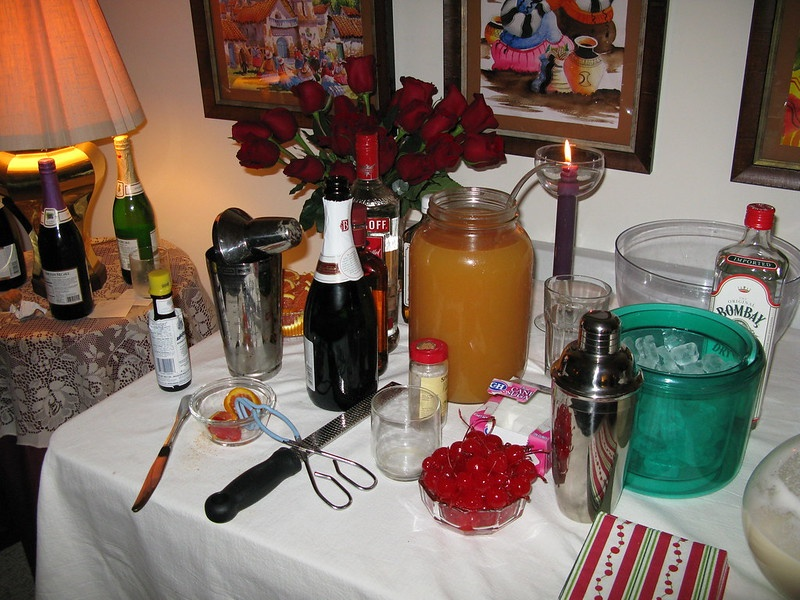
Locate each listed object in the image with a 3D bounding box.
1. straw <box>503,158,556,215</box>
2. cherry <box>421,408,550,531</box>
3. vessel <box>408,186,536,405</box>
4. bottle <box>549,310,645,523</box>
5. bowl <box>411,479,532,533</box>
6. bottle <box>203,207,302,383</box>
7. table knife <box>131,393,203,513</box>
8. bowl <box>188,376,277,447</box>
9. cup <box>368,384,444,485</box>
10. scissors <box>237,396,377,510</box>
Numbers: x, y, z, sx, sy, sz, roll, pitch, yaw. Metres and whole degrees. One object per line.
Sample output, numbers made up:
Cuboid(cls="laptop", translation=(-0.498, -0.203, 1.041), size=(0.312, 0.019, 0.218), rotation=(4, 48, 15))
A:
Cuboid(cls="straw", translation=(0.227, -0.209, 1.063), size=(0.048, 0.150, 0.023), rotation=(-9, 68, -1))
Cuboid(cls="cherry", translation=(0.107, 0.224, 0.767), size=(0.141, 0.075, 0.108), rotation=(-18, 43, -21))
Cuboid(cls="vessel", translation=(0.123, -0.007, 1.046), size=(0.226, 0.372, 0.223), rotation=(-9, 20, -24))
Cuboid(cls="bottle", translation=(0.241, 0.151, 0.746), size=(0.106, 0.283, 0.063), rotation=(8, 25, 22))
Cuboid(cls="bowl", translation=(0.100, 0.274, 0.796), size=(0.156, 0.058, 0.153), rotation=(0, -16, 0))
Cuboid(cls="bottle", translation=(-0.250, -0.002, 1.036), size=(0.153, 0.305, 0.116), rotation=(6, 26, 4))
Cuboid(cls="table knife", translation=(-0.353, 0.219, 0.903), size=(0.026, 0.018, 0.237), rotation=(9, 29, -4))
Cuboid(cls="bowl", translation=(-0.271, 0.150, 0.917), size=(0.103, 0.043, 0.104), rotation=(1, 41, -1))
Cuboid(cls="cup", translation=(0.001, 0.210, 0.882), size=(0.116, 0.120, 0.117), rotation=(-1, 32, 0))
Cuboid(cls="scissors", translation=(-0.138, 0.226, 0.854), size=(0.034, 0.031, 0.350), rotation=(14, 24, 28))
